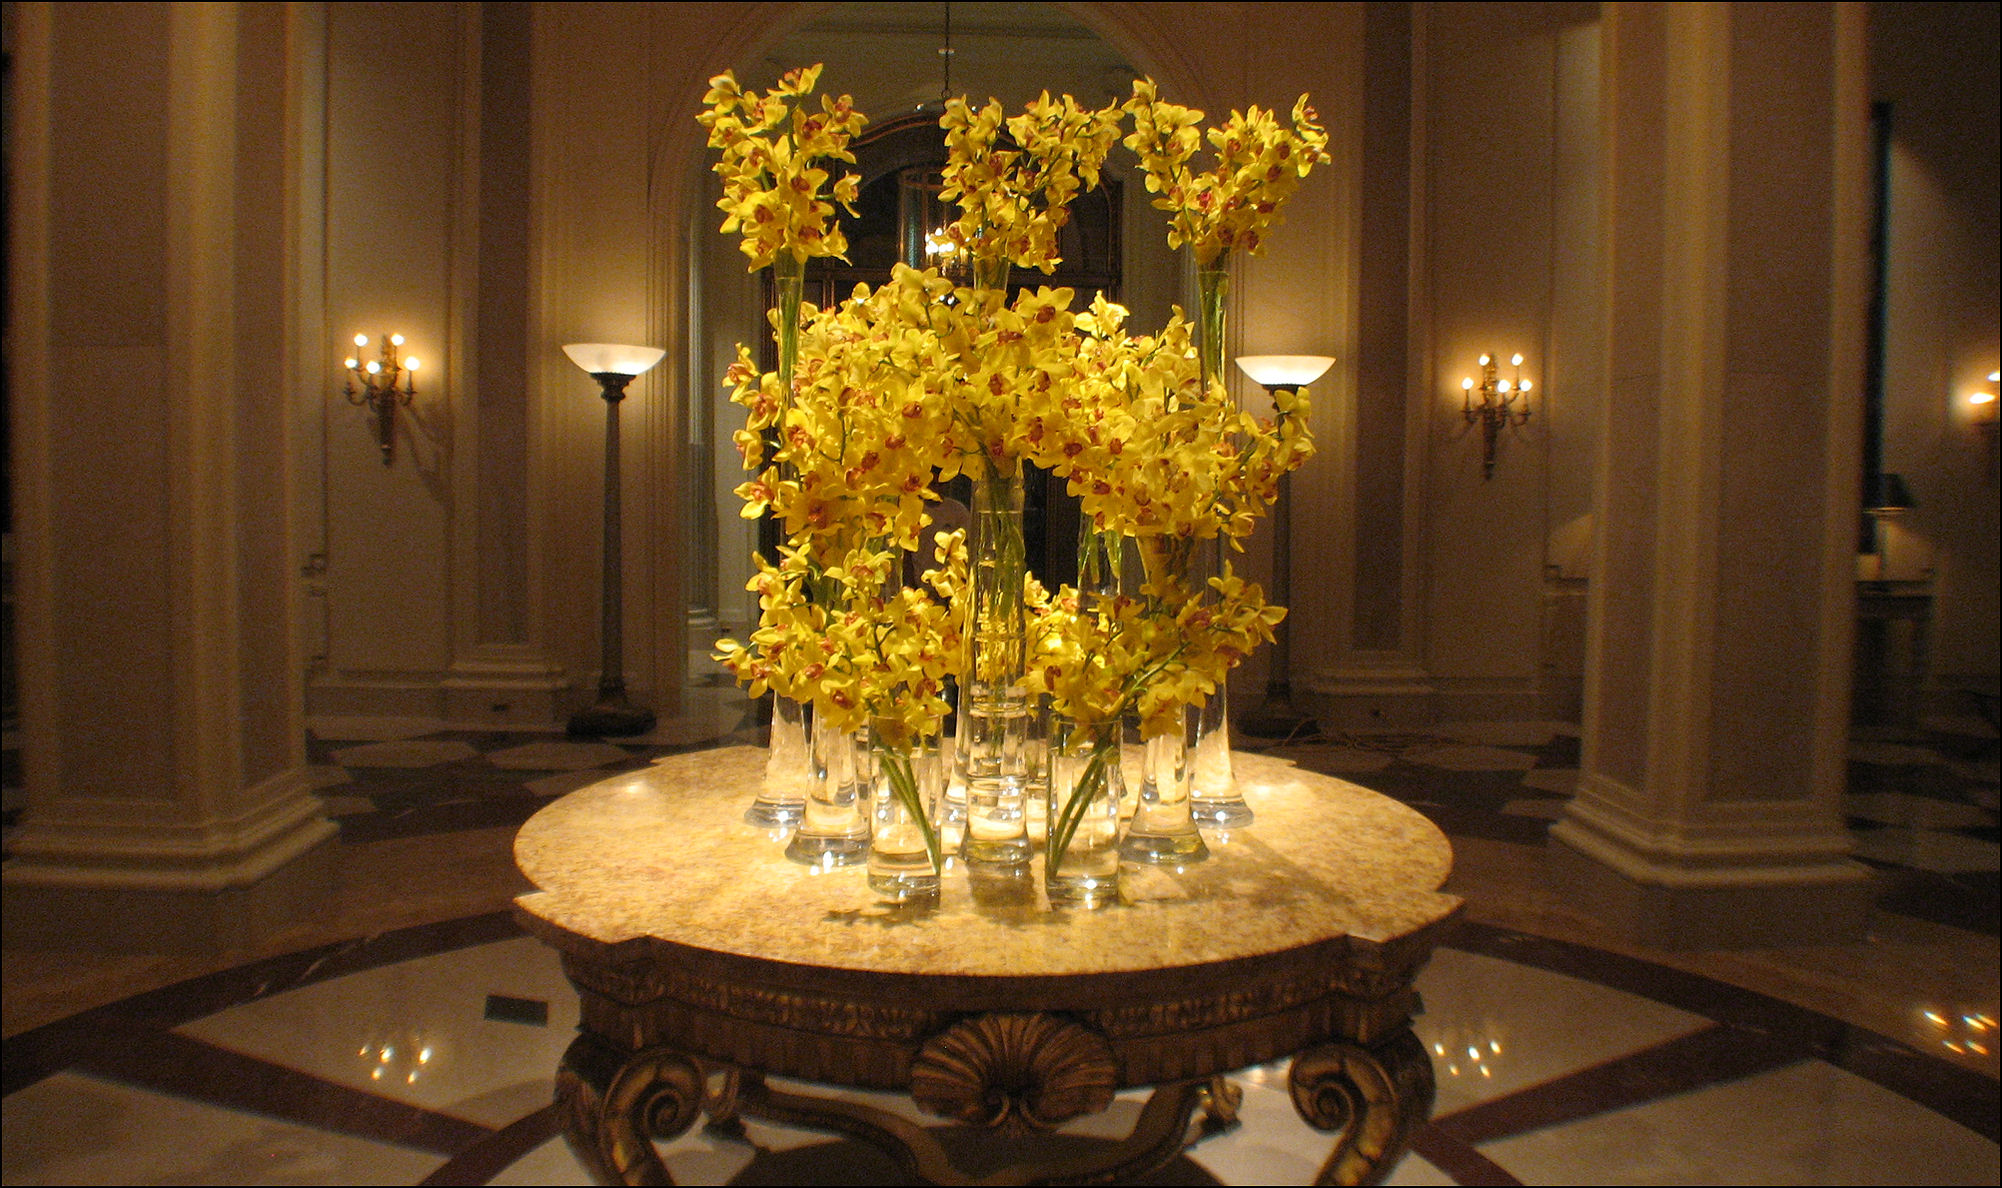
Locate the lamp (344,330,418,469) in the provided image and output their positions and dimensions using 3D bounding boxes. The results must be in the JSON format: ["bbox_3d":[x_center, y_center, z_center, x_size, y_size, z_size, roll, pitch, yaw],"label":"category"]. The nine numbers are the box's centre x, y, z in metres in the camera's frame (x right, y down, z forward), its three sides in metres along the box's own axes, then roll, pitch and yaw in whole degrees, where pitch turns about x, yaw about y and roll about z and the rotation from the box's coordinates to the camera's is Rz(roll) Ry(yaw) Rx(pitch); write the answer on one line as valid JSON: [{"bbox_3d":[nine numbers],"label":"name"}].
[{"bbox_3d":[-4.368,-1.376,9.817,0.532,0.706,0.141,-2,2,14],"label":"lamp"}]

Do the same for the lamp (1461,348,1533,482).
[{"bbox_3d":[3.702,-1.311,10.310,0.590,0.902,0.136,-3,2,-16],"label":"lamp"}]

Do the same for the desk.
[{"bbox_3d":[-0.077,0.844,4.538,2.049,0.845,1.579,-1,0,-2],"label":"desk"}]
